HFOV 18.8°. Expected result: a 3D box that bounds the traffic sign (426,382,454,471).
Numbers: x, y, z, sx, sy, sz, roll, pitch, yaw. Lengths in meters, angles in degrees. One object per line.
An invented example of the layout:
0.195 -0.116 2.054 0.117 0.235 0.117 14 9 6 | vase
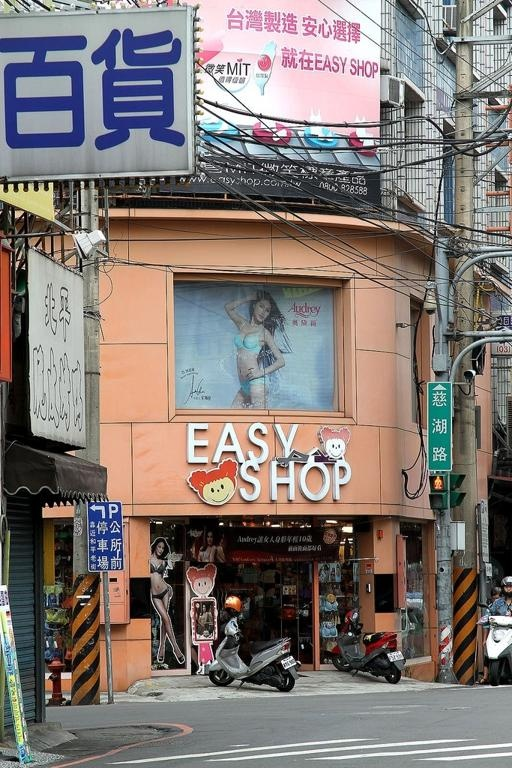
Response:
3.024 0.734 25.273 0.427 1.502 0.511 -3 -4 7 | traffic sign

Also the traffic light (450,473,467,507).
3.310 1.756 25.202 0.236 0.530 0.988 -3 -5 9 | traffic light

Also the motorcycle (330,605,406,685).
1.690 4.222 24.480 0.610 1.316 1.671 6 5 -39 | motorcycle

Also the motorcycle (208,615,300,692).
-0.040 4.066 22.720 1.475 1.353 0.729 1 -8 26 | motorcycle

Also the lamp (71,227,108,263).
-1.981 -1.582 18.620 0.359 0.507 0.457 5 17 13 | lamp

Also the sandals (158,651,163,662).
-1.546 4.498 25.216 0.024 0.140 0.111 -6 -5 40 | sandals

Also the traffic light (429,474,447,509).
2.937 1.753 24.675 0.283 0.536 0.222 -3 -4 4 | traffic light

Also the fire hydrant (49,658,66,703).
-2.707 4.094 20.913 0.191 0.540 0.864 -2 -5 -7 | fire hydrant

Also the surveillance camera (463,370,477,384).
3.653 -0.112 26.172 0.166 0.282 0.251 1 7 13 | surveillance camera
